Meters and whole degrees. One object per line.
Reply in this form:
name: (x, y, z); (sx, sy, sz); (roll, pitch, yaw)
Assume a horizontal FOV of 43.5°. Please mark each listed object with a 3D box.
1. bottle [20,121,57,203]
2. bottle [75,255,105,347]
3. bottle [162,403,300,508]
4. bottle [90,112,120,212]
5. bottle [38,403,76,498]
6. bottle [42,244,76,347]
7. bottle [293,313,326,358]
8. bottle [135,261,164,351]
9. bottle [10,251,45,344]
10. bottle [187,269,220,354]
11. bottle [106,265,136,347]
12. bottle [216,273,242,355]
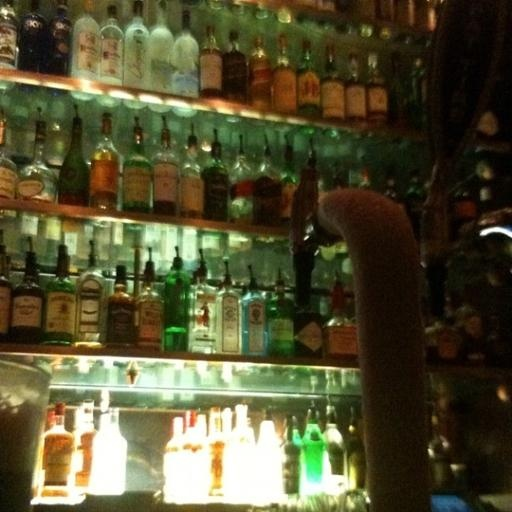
bottle: (-0.567, -0.244, 1.669); (0.091, 0.246, 0.201); (0, -7, -18)
bottle: (-0.402, 0.103, 1.558); (0.069, 0.230, 0.183); (0, -6, -14)
bottle: (-0.080, 0.495, 1.628); (0.248, 0.232, 0.239); (1, -16, -5)
bottle: (-0.400, -0.240, 1.706); (0.081, 0.284, 0.254); (0, -6, -12)
bottle: (-0.460, 0.447, 1.495); (0.070, 0.200, 0.141); (0, -6, -18)
bottle: (-0.470, 0.091, 1.543); (0.072, 0.241, 0.150); (0, -6, -16)
bottle: (0.133, 0.208, 1.668); (0.101, 0.114, 0.100); (0, -18, 1)
bottle: (-0.270, 0.124, 1.628); (0.064, 0.222, 0.177); (-1, -6, -9)
bottle: (-0.537, 0.096, 1.514); (0.070, 0.216, 0.134); (1, -7, -19)
bottle: (-0.141, 0.146, 1.675); (0.072, 0.210, 0.123); (-1, -6, -4)
bottle: (-0.326, 0.121, 1.589); (0.068, 0.199, 0.158); (-2, -6, 1)
bottle: (-0.072, 0.169, 1.653); (0.063, 0.162, 0.091); (-1, -6, -3)
